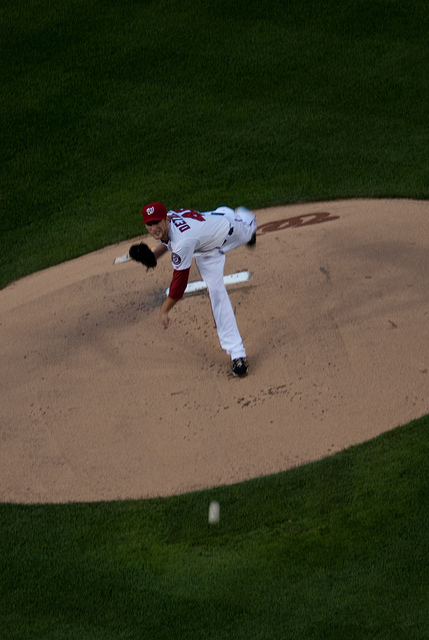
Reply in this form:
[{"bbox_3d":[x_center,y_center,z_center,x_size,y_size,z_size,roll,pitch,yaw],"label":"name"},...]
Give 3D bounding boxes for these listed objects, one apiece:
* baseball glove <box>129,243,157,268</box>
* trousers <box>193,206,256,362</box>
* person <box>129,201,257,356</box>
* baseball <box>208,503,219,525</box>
[{"bbox_3d":[-0.763,-0.683,9.523,0.286,0.174,0.068,50,54,-2],"label":"baseball glove"},{"bbox_3d":[0.139,-0.385,9.268,0.501,0.396,1.709,-6,94,2],"label":"trousers"},{"bbox_3d":[-0.082,-0.570,9.053,1.143,1.331,1.273,-15,64,-10],"label":"person"},{"bbox_3d":[-0.010,1.965,9.146,0.080,0.043,0.213,0,89,-3],"label":"baseball"}]
